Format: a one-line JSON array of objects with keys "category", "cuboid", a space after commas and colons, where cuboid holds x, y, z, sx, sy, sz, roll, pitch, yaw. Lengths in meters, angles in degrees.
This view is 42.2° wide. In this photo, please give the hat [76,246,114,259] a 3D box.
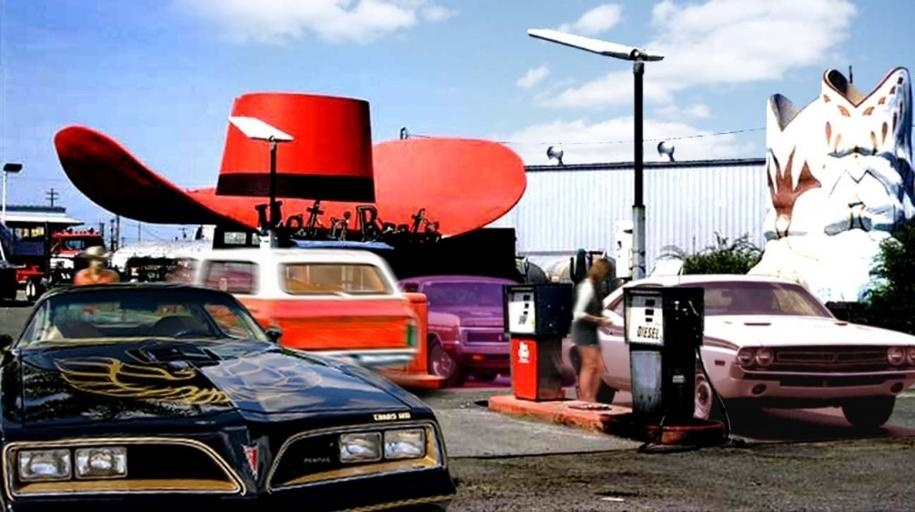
[{"category": "hat", "cuboid": [-8.541, -0.102, 27.724, 0.808, 0.183, 0.786, 2, -2, -44]}]

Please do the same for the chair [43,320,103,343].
[{"category": "chair", "cuboid": [-4.978, 0.952, 15.386, 0.701, 0.218, 0.257, -5, 9, -25]}]
